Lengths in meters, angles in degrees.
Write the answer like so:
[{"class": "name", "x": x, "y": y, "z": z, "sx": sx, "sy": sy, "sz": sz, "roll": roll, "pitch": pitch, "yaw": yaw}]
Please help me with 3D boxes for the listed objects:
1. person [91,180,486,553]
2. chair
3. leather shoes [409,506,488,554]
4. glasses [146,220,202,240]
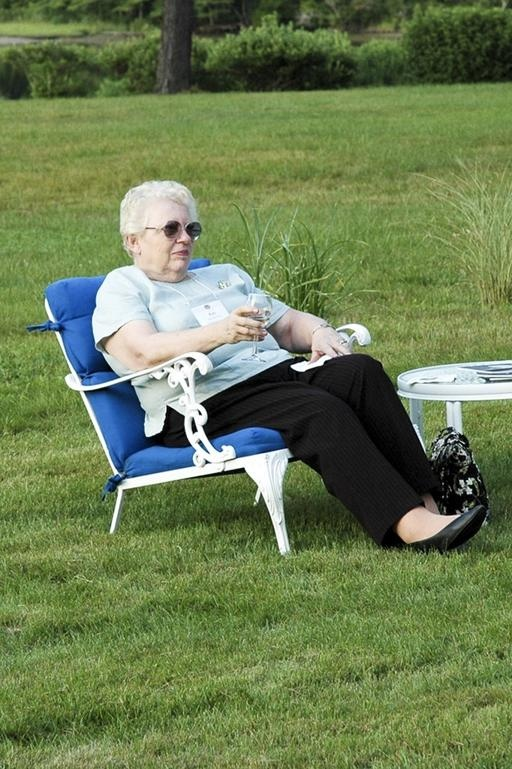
[{"class": "person", "x": 0.137, "y": -0.121, "z": 3.774, "sx": 1.342, "sy": 1.126, "sz": 0.767, "roll": 5, "pitch": 15, "yaw": 40}, {"class": "chair", "x": -0.228, "y": 0.027, "z": 4.172, "sx": 1.231, "sy": 0.865, "sz": 0.933, "roll": 4, "pitch": 7, "yaw": 33}, {"class": "leather shoes", "x": 0.564, "y": 0.423, "z": 3.335, "sx": 0.285, "sy": 0.092, "sz": 0.086, "roll": -21, "pitch": 43, "yaw": 28}, {"class": "glasses", "x": -0.264, "y": -0.527, "z": 3.926, "sx": 0.107, "sy": 0.036, "sz": 0.110, "roll": -2, "pitch": 1, "yaw": -38}]
